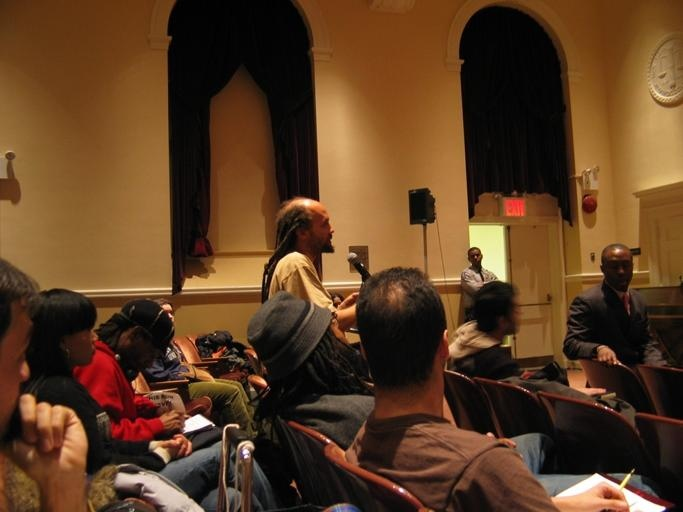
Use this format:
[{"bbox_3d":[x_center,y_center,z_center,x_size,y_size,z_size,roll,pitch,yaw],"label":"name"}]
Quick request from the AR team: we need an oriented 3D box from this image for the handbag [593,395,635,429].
[{"bbox_3d":[1.274,0.736,2.479,0.204,0.082,0.216,5,-1,-20],"label":"handbag"}]

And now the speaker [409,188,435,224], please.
[{"bbox_3d":[0.939,-0.590,6.310,0.333,0.430,0.249,-4,-1,22],"label":"speaker"}]

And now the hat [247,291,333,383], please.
[{"bbox_3d":[-0.185,0.319,2.147,0.174,0.358,0.288,31,-1,-33],"label":"hat"}]
